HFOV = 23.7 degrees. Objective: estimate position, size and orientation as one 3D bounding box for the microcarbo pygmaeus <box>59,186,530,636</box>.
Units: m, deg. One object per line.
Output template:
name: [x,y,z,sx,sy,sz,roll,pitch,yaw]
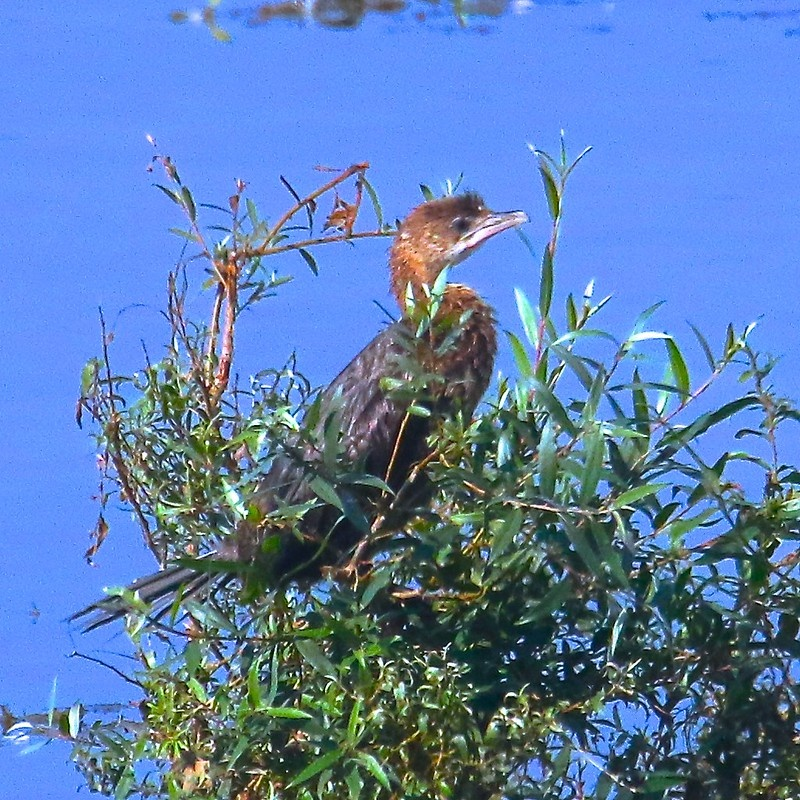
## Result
microcarbo pygmaeus: [-0.171,-0.023,4.657,0.764,0.852,1.671,8,20,7]
